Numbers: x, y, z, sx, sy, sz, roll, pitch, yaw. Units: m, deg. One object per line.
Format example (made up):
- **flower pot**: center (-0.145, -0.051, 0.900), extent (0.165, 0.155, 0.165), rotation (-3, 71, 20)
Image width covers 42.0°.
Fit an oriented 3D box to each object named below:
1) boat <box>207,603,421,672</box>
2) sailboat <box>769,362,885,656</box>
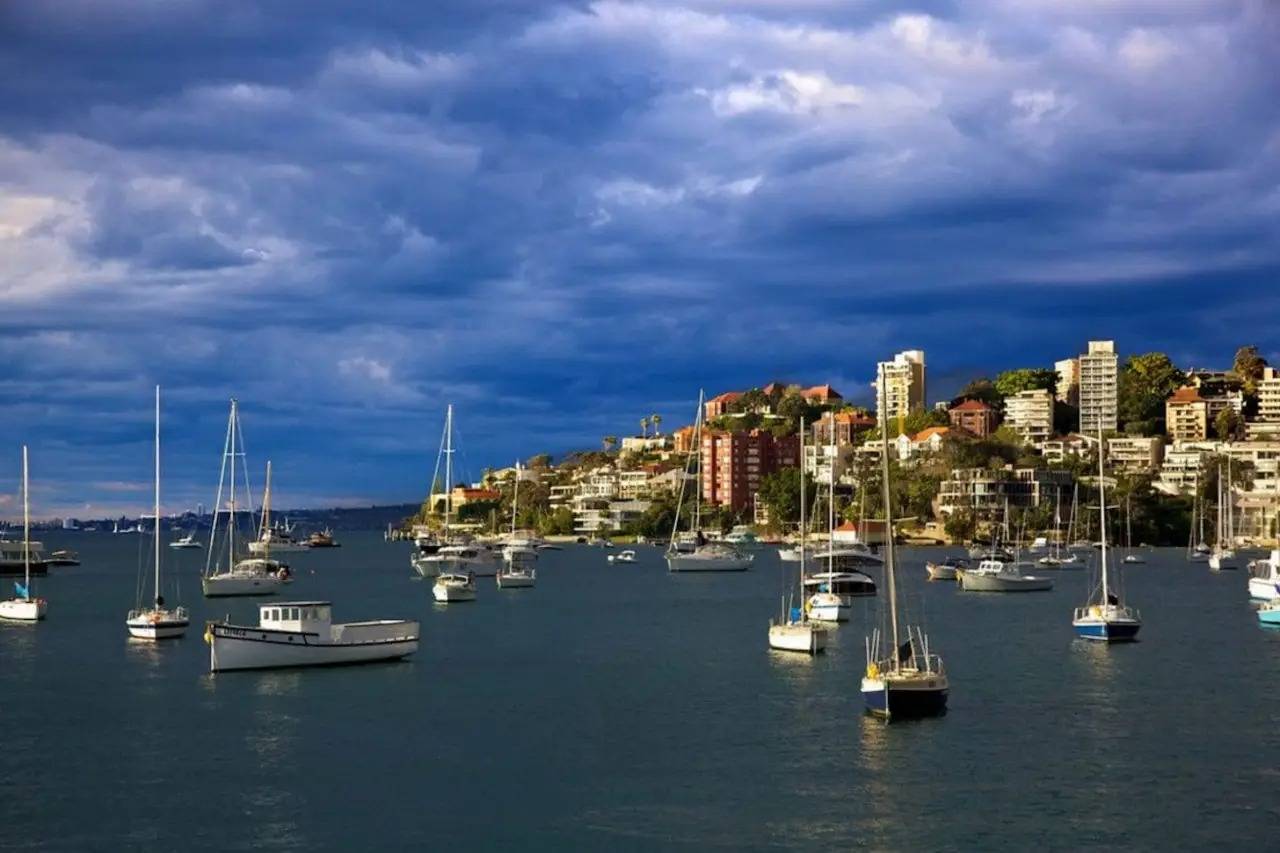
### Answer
- **boat**: center (-24.866, 14.739, 118.262), extent (17.464, 4.461, 5.462), rotation (5, -12, -29)
- **sailboat**: center (25.146, 12.109, 225.360), extent (9.381, 30.833, 9.448), rotation (1, -4, 5)
